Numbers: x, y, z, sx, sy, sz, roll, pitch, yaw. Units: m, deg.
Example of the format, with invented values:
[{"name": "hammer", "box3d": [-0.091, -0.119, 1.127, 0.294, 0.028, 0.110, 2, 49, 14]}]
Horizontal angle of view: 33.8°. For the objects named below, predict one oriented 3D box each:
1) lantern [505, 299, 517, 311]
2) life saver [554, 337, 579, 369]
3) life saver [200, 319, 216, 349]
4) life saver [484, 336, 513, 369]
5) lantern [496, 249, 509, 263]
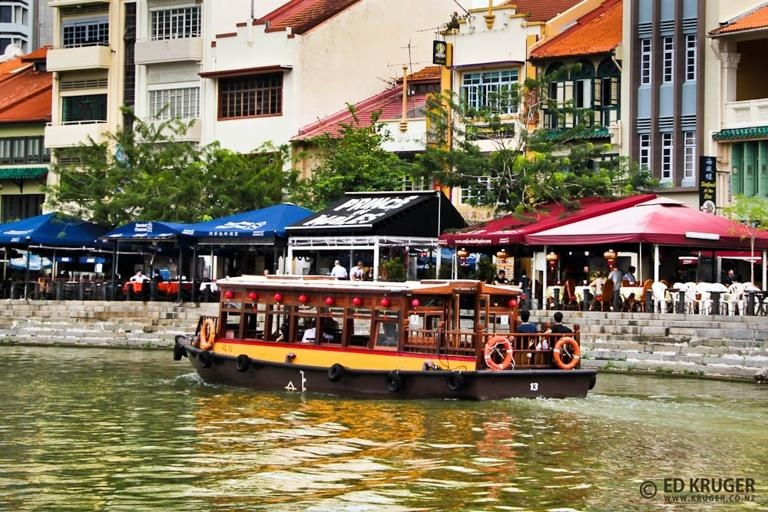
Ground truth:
[{"name": "lantern", "box3d": [3.406, 1.272, 33.658, 0.279, 0.270, 0.273, 3, 27, -11]}, {"name": "life saver", "box3d": [4.754, 2.505, 32.886, 0.792, 0.856, 0.437, 1, -3, -32]}, {"name": "life saver", "box3d": [-4.952, 2.208, 35.533, 0.147, 0.754, 0.743, 4, -10, -31]}, {"name": "life saver", "box3d": [2.870, 2.457, 32.135, 0.790, 0.894, 0.446, 0, -3, -9]}, {"name": "lantern", "box3d": [4.463, -0.042, 47.546, 0.505, 0.237, 0.677, 0, -4, 3]}]
